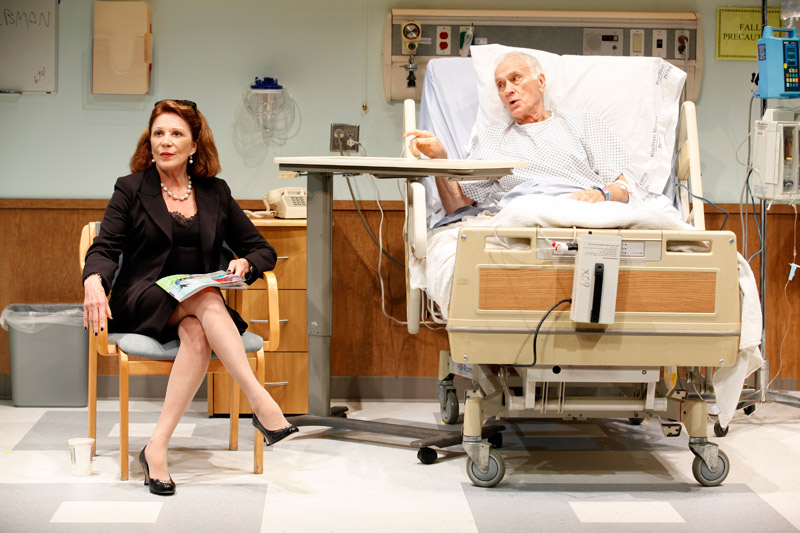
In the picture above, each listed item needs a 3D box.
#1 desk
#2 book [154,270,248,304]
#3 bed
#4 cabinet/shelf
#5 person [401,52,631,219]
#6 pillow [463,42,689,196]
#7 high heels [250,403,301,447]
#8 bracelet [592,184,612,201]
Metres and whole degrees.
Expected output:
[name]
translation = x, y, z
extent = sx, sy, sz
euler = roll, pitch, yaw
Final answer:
[desk]
translation = -0.332, 0.301, 3.971
extent = 1.299, 1.339, 1.109
euler = -8, -18, 16
[book]
translation = -0.842, 0.070, 3.069
extent = 0.193, 0.050, 0.209
euler = -10, 22, -40
[bed]
translation = 0.794, -0.124, 3.512
extent = 1.479, 1.999, 1.248
euler = 1, 9, 0
[cabinet/shelf]
translation = -0.881, 0.333, 4.112
extent = 0.661, 1.069, 0.571
euler = -2, -5, -7
[person]
translation = 0.706, -0.652, 3.862
extent = 0.821, 0.381, 1.000
euler = -9, 38, 7
[pillow]
translation = 0.952, -0.843, 3.839
extent = 0.985, 0.901, 0.296
euler = 2, -8, 4
[high heels]
translation = -0.538, 0.686, 3.076
extent = 0.300, 0.116, 0.102
euler = 3, 3, 27
[bracelet]
translation = 0.946, -0.345, 3.388
extent = 0.100, 0.035, 0.097
euler = 5, 52, -12
